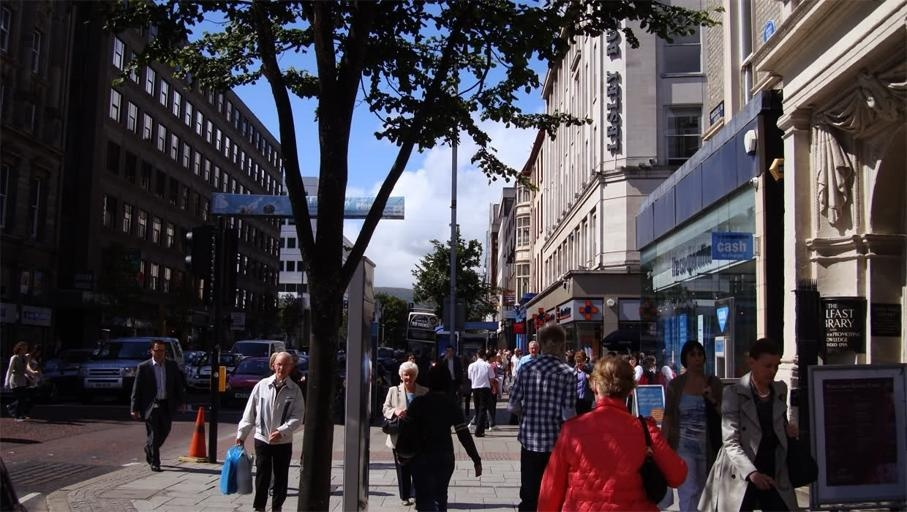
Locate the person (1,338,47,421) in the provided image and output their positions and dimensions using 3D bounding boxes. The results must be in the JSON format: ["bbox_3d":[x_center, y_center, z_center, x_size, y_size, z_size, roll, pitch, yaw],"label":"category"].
[{"bbox_3d":[-13.622,4.019,28.102,0.945,2.361,1.435,6,-14,-19],"label":"person"}]

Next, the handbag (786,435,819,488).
[{"bbox_3d":[5.902,3.439,14.930,0.610,0.782,0.335,14,-18,-42],"label":"handbag"}]

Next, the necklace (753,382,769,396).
[{"bbox_3d":[5.169,2.232,14.939,0.220,0.214,0.054,-12,-21,-20],"label":"necklace"}]

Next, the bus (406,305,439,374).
[{"bbox_3d":[-1.783,4.867,53.812,2.914,4.258,8.021,0,-8,-1],"label":"bus"}]

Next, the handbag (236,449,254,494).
[{"bbox_3d":[-4.050,4.160,17.223,0.374,0.997,0.733,1,-15,-10],"label":"handbag"}]
